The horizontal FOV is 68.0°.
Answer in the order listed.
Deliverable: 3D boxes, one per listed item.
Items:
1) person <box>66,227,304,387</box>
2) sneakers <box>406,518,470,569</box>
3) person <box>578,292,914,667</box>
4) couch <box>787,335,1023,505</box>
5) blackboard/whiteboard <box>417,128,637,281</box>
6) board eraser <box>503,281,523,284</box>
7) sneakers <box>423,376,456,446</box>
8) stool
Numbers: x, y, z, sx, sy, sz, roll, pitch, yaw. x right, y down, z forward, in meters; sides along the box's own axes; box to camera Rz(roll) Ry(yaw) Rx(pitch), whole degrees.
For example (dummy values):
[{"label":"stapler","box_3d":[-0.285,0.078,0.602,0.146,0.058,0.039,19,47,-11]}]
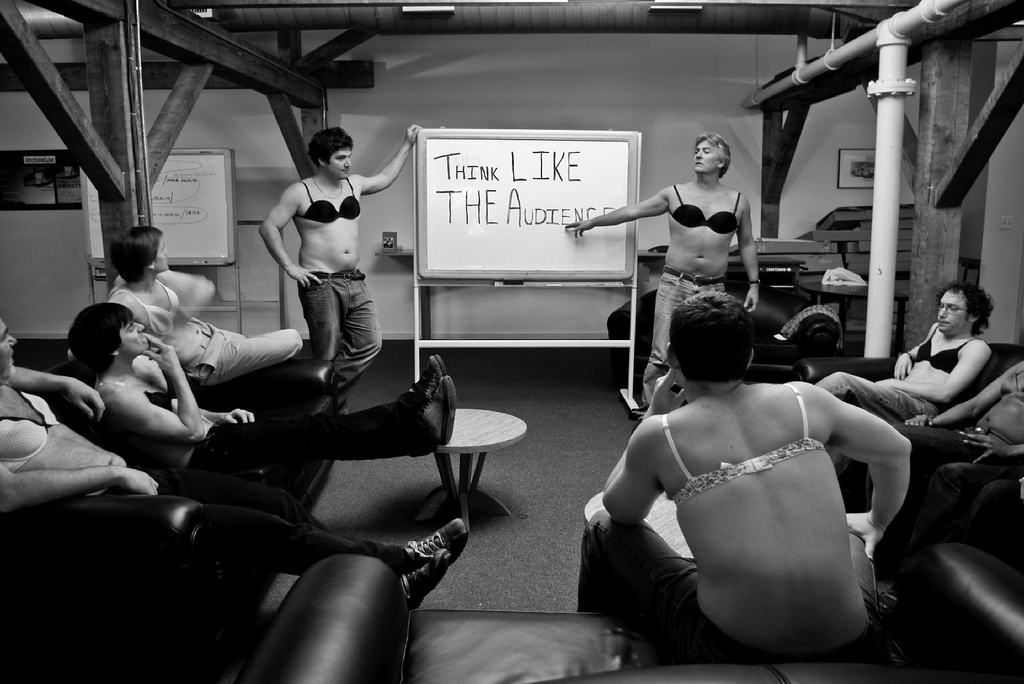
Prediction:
[{"label":"person","box_3d":[-1.889,-0.225,4.188,1.280,0.937,0.615,0,12,-33]},{"label":"sneakers","box_3d":[-0.332,0.741,2.775,0.314,0.104,0.134,-28,-20,21]},{"label":"person","box_3d":[0.633,0.453,2.448,1.028,1.369,1.014,-3,14,4]},{"label":"couch","box_3d":[2.002,0.303,3.784,1.024,0.837,0.868,1,1,7]},{"label":"blackboard/whiteboard","box_3d":[0.052,-1.010,5.414,1.135,0.761,0.086,0,8,-1]},{"label":"board eraser","box_3d":[0.006,-0.436,5.499,0.124,0.028,0.044,-1,11,0]},{"label":"sneakers","box_3d":[-0.345,0.310,3.539,0.148,0.336,0.113,5,12,0]},{"label":"stool","box_3d":[-0.195,0.609,3.837,0.549,0.394,0.559,5,7,39]}]
